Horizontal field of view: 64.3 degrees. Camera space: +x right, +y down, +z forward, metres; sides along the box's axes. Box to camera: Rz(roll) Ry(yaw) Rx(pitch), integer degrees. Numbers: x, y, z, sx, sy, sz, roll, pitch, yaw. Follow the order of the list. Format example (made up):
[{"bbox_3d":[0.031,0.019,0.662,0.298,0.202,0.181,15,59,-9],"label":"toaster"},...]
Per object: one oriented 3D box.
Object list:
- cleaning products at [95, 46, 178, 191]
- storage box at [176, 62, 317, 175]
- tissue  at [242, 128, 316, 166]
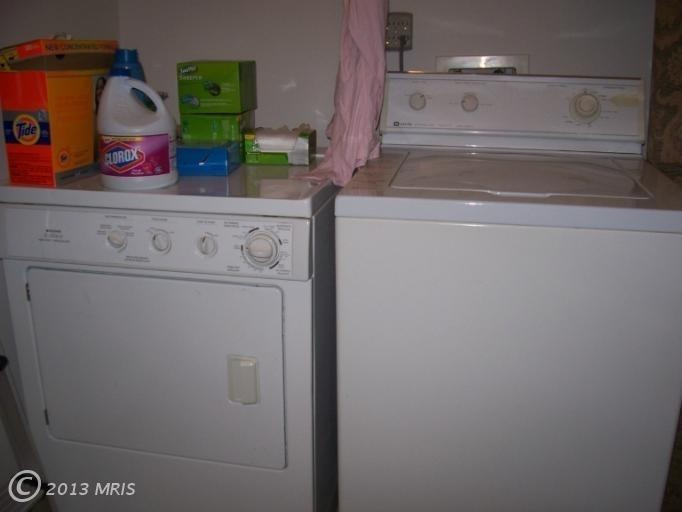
[{"bbox_3d":[-0.606,-0.404,1.704,0.220,0.456,0.255,5,15,19],"label":"cleaning products"},{"bbox_3d":[-0.281,-0.569,2.174,0.516,0.399,0.552,3,18,10],"label":"storage box"},{"bbox_3d":[-0.231,-0.458,2.007,0.195,0.104,0.155,2,21,2],"label":"tissue "}]
